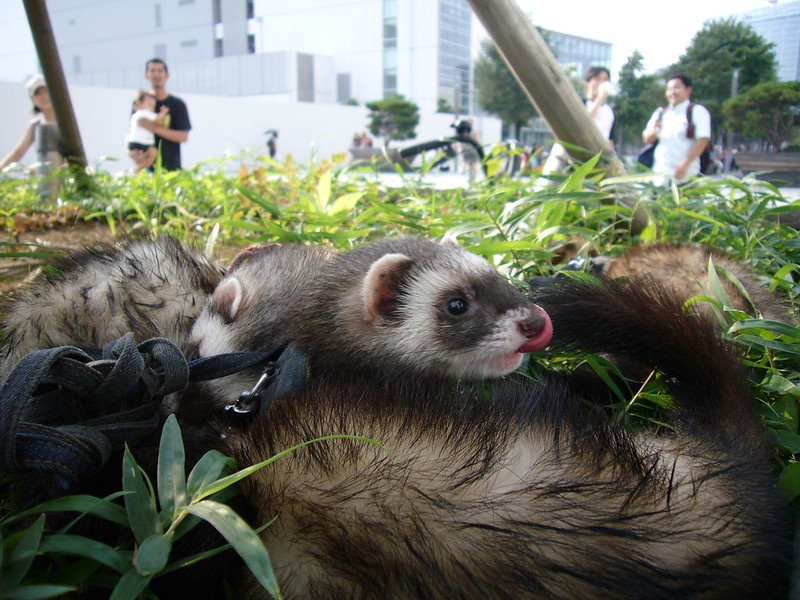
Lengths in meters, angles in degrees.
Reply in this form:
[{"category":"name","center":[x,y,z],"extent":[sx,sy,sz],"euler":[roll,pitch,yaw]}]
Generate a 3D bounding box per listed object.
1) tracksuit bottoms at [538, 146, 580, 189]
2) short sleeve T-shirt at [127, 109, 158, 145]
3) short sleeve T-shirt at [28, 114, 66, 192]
[{"category":"tracksuit bottoms","center":[0.607,-0.531,2.745],"extent":[0.134,0.150,0.428],"euler":[10,16,2]},{"category":"short sleeve T-shirt","center":[-1.588,-1.056,4.306],"extent":[0.208,0.214,0.166],"euler":[1,12,4]},{"category":"short sleeve T-shirt","center":[-1.951,-0.778,3.903],"extent":[0.140,0.405,0.463],"euler":[-6,14,-27]}]
